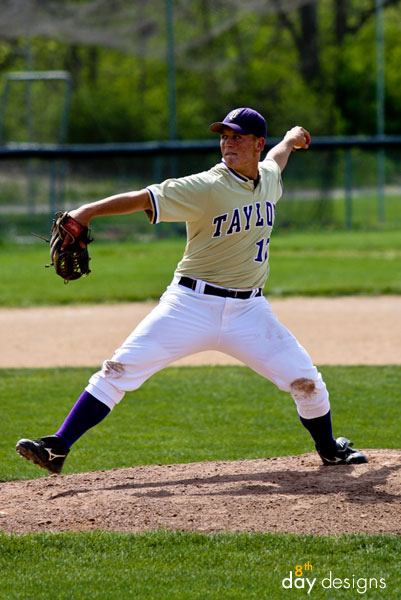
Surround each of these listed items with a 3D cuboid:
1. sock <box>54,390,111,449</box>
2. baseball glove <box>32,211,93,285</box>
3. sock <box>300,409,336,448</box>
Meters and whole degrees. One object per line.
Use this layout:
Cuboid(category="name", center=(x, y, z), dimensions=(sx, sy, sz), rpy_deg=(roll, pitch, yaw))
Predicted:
Cuboid(category="sock", center=(-0.526, 0.491, 4.101), dimensions=(0.282, 0.189, 0.117), rpy_deg=(-39, 20, -4))
Cuboid(category="baseball glove", center=(-0.548, -0.202, 3.903), dimensions=(0.310, 0.286, 0.129), rpy_deg=(-5, 34, -8))
Cuboid(category="sock", center=(0.535, 0.584, 4.256), dimensions=(0.166, 0.175, 0.107), rpy_deg=(-1, 7, -2))
